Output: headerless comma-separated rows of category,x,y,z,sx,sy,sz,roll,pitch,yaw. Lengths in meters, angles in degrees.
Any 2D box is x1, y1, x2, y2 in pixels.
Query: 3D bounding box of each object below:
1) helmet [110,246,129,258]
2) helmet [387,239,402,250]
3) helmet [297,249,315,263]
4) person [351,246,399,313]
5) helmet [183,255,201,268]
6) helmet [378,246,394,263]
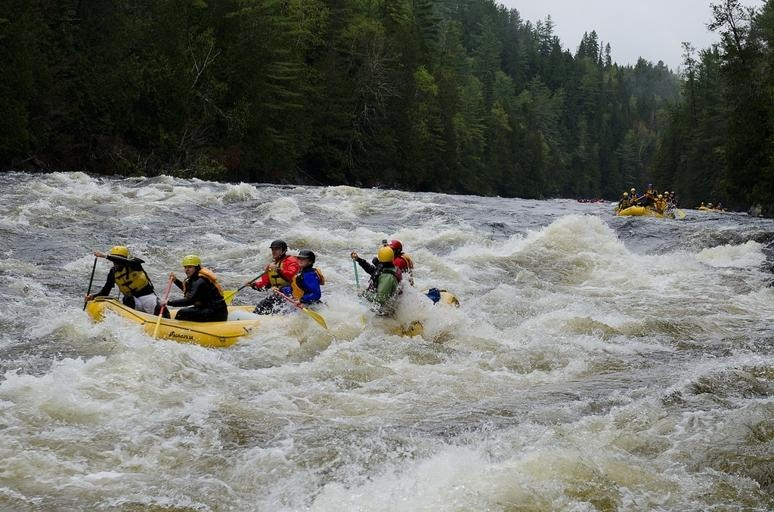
helmet,-5.967,-0.045,19.336,0.286,0.280,0.363,21,28,41
helmet,0.170,-0.266,20.087,0.268,0.215,0.217,20,0,33
helmet,-1.839,-0.012,19.511,0.330,0.171,0.265,15,0,6
person,-0.286,0.598,20.224,0.715,0.702,1.323,15,-40,-3
helmet,-4.279,0.115,19.032,0.270,0.278,0.371,2,17,13
helmet,-0.034,-0.035,19.590,0.357,0.362,0.257,4,5,-5
